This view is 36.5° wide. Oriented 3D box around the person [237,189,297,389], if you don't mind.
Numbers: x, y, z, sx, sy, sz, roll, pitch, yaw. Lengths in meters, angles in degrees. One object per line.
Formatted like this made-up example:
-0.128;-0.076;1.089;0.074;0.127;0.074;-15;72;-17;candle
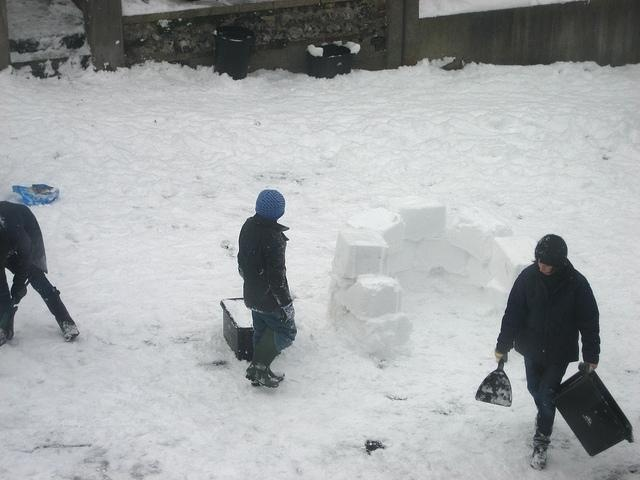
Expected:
-0.555;0.523;10.388;0.561;2.010;0.605;-4;22;-4;person

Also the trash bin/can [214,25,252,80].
-1.495;-3.187;16.918;0.715;0.913;0.463;0;22;4;trash bin/can

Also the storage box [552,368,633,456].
2.778;1.775;9.935;0.629;0.654;0.333;49;27;6;storage box

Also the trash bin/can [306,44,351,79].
0.165;-3.211;17.902;0.698;0.656;0.660;-4;12;-22;trash bin/can

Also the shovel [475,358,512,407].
1.804;1.510;10.192;0.391;0.471;0.387;-12;25;-29;shovel

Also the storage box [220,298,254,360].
-0.904;1.003;10.845;0.347;0.372;0.580;-7;27;-20;storage box
